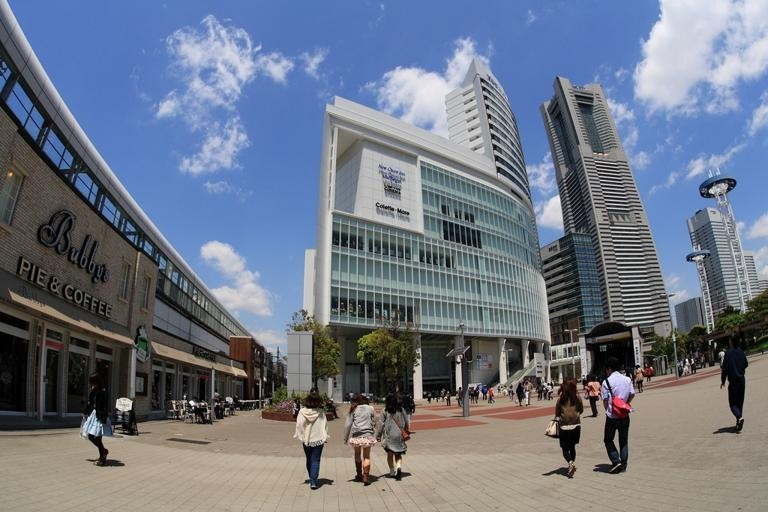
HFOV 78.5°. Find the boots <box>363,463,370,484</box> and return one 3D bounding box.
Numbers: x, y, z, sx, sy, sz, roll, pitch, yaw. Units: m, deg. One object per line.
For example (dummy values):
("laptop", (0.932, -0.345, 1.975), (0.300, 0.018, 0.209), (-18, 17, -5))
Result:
("boots", (-0.513, 6.236, 13.375), (0.191, 0.540, 0.325), (0, -20, -7))

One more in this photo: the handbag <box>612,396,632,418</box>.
("handbag", (6.521, 4.199, 12.940), (0.485, 0.508, 0.184), (-44, -10, -7))

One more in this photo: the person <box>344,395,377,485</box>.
("person", (-0.694, 5.416, 13.916), (0.927, 2.453, 1.184), (-1, -19, -4))

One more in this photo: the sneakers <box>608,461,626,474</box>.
("sneakers", (6.407, 5.896, 13.033), (0.209, 0.261, 0.613), (6, -25, -3))

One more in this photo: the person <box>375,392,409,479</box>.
("person", (0.277, 5.373, 14.012), (0.834, 2.380, 1.256), (-6, -20, 9))

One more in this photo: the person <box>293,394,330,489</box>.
("person", (-2.136, 5.302, 13.637), (0.837, 2.635, 1.202), (1, -20, -10))

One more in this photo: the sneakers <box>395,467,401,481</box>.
("sneakers", (0.401, 6.363, 13.711), (0.177, 0.306, 0.370), (-3, -21, 1))
